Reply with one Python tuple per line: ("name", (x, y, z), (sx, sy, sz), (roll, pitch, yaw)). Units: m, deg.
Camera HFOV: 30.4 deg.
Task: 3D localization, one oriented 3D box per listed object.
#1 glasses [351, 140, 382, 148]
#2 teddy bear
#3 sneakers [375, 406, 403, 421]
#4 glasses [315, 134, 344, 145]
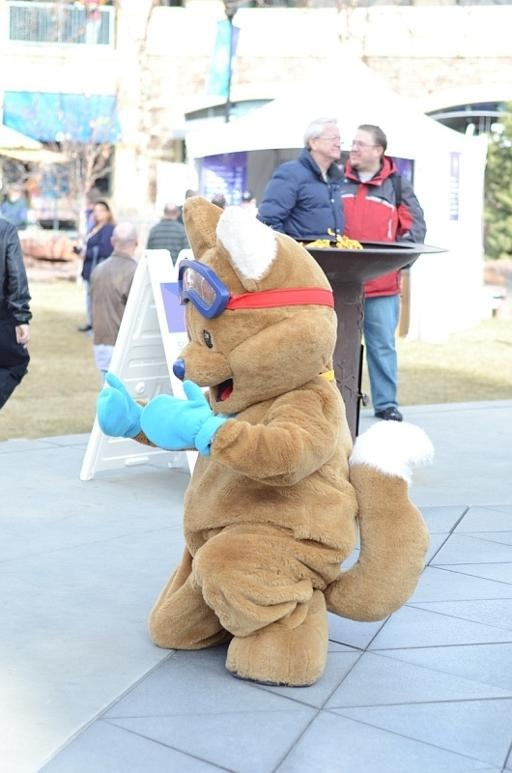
("glasses", (0.712, -1.563, 6.138), (0.092, 0.023, 0.084), (3, 5, -16))
("teddy bear", (-0.008, 0.158, 2.780), (0.851, 1.415, 0.677), (-10, 14, -39))
("sneakers", (0.917, 0.195, 6.602), (0.098, 0.096, 0.245), (-2, -7, -4))
("glasses", (0.446, -1.549, 5.943), (0.129, 0.080, 0.087), (-3, 12, 11))
